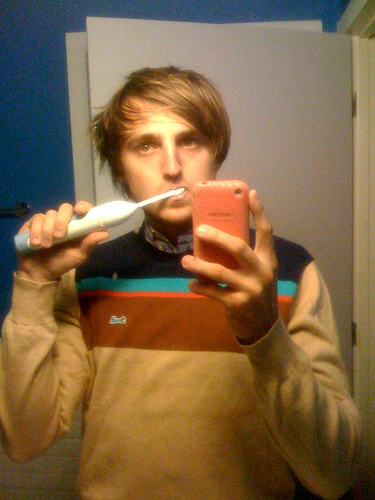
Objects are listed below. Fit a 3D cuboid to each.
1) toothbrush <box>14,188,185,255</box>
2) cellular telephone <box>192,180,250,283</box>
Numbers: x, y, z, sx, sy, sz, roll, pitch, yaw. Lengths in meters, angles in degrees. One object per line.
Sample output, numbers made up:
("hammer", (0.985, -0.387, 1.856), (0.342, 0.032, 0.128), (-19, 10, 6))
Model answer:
("toothbrush", (-0.177, -0.059, 1.107), (0.340, 0.054, 0.057), (-19, 34, 8))
("cellular telephone", (0.055, -0.030, 0.849), (0.095, 0.159, 0.092), (-1, 18, 2))
